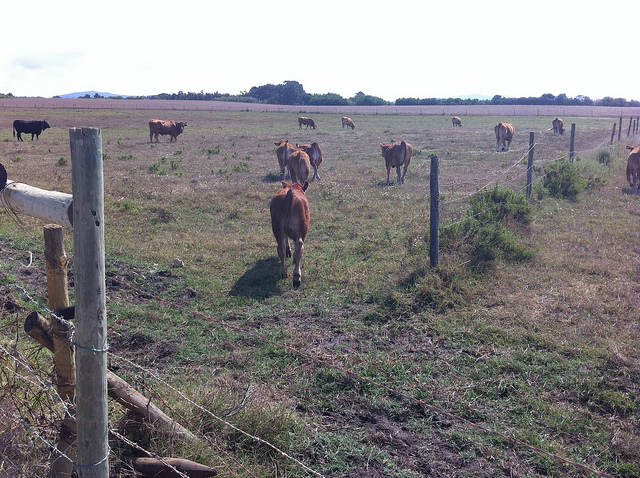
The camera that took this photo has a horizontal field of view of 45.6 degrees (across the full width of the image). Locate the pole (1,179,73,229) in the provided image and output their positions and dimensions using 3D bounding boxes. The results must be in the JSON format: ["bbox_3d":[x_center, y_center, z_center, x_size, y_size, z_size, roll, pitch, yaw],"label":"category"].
[{"bbox_3d":[-4.097,-0.507,11.226,1.478,0.552,0.226,8,10,29],"label":"pole"}]

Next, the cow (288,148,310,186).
[{"bbox_3d":[-0.671,-2.422,24.214,0.387,0.934,1.634,1,29,-5],"label":"cow"}]

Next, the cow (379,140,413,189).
[{"bbox_3d":[2.747,-2.845,27.981,0.628,1.596,2.628,-3,8,-13],"label":"cow"}]

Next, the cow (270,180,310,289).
[{"bbox_3d":[-0.690,-0.149,17.224,0.833,2.060,1.881,2,9,-2],"label":"cow"}]

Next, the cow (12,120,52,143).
[{"bbox_3d":[-15.448,-5.875,40.834,1.644,1.029,4.951,-1,10,-21],"label":"cow"}]

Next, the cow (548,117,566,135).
[{"bbox_3d":[15.801,-7.518,50.537,0.611,1.047,1.880,5,10,18],"label":"cow"}]

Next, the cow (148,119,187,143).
[{"bbox_3d":[-8.986,-6.314,44.120,1.291,1.141,3.879,2,10,-1],"label":"cow"}]

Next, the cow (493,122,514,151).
[{"bbox_3d":[9.528,-5.356,39.482,0.710,1.374,3.634,4,10,16],"label":"cow"}]
